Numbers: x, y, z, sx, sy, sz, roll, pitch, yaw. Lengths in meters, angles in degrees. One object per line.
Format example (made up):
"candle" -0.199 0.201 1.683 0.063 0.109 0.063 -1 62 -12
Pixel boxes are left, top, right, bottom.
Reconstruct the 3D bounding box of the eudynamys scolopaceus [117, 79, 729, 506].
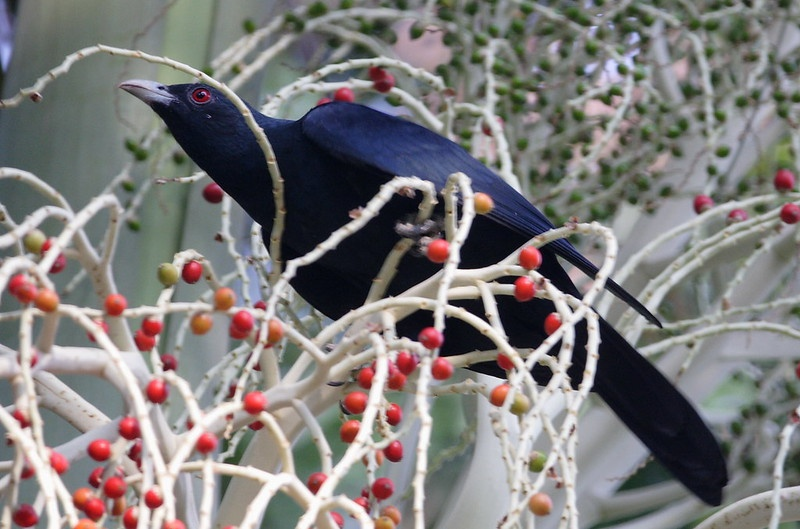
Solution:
"eudynamys scolopaceus" 0.105 0.052 2.933 1.393 0.435 0.405 33 -5 6
